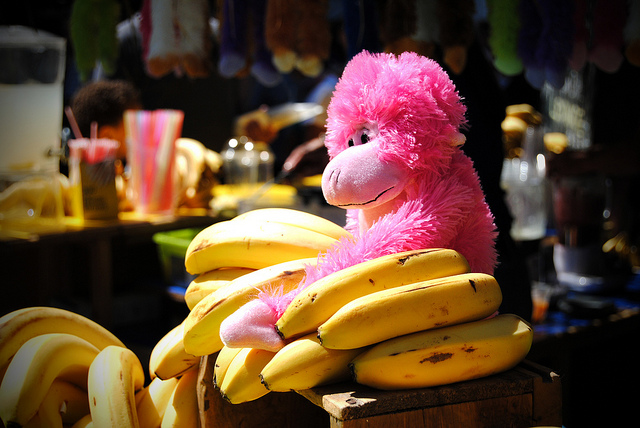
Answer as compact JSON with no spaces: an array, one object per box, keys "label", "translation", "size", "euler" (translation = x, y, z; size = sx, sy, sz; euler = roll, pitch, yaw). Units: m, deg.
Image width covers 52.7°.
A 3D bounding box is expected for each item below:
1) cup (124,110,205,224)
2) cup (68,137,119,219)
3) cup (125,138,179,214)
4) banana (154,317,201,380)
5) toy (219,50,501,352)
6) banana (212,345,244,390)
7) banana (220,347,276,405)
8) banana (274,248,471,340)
[{"label":"cup","translation":[-0.654,-0.198,2.710],"size":[0.217,0.447,0.523],"euler":[1,5,14]},{"label":"cup","translation":[-0.835,-0.132,2.375],"size":[0.181,0.297,0.093],"euler":[-2,6,-14]},{"label":"cup","translation":[-0.701,-0.155,2.684],"size":[0.229,0.347,0.199],"euler":[-4,-17,-13]},{"label":"banana","translation":[-0.411,0.405,1.928],"size":[0.114,0.202,0.075],"euler":[48,16,26]},{"label":"toy","translation":[0.138,-0.004,1.856],"size":[0.731,0.897,0.654],"euler":[0,-5,-31]},{"label":"banana","translation":[-0.269,0.415,1.786],"size":[0.043,0.129,0.070],"euler":[28,-1,-34]},{"label":"banana","translation":[-0.179,0.449,1.800],"size":[0.113,0.178,0.063],"euler":[43,2,18]},{"label":"banana","translation":[0.202,0.174,1.844],"size":[0.759,0.195,0.148],"euler":[-15,18,-37]}]
